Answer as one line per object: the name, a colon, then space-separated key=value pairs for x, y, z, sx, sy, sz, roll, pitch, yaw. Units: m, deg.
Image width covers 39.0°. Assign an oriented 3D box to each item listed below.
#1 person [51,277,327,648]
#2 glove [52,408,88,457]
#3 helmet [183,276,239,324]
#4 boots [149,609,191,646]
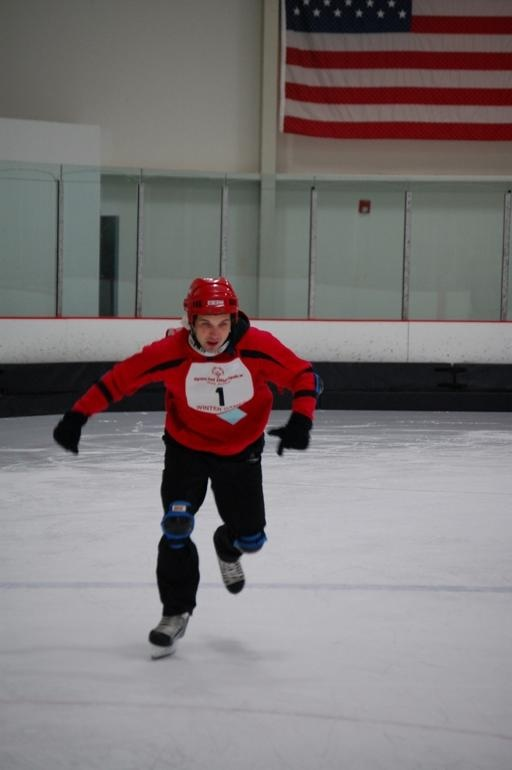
person: x=-0.170 y=0.199 z=2.077 sx=0.713 sy=0.984 sz=0.398 roll=0 pitch=2 yaw=-39
glove: x=-0.492 y=0.142 z=2.037 sx=0.116 sy=0.115 sz=0.056 roll=24 pitch=-12 yaw=48
helmet: x=-0.120 y=-0.225 z=1.977 sx=0.139 sy=0.129 sz=0.171 roll=-5 pitch=5 yaw=-21
boots: x=-0.224 y=0.650 z=1.900 sx=0.045 sy=0.052 sz=0.135 roll=14 pitch=19 yaw=15
